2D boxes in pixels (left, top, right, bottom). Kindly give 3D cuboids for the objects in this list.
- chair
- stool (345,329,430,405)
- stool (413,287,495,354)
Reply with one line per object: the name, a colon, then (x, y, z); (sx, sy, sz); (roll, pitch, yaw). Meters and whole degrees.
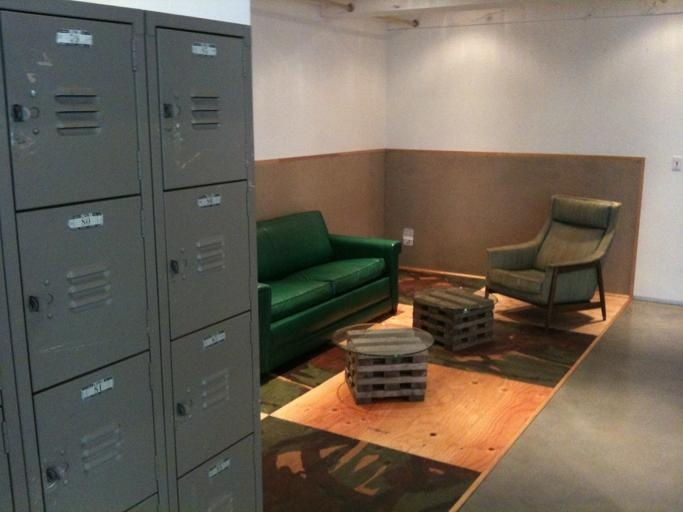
chair: (2.215, 0.038, 5.642); (1.032, 1.171, 0.994); (-13, 20, -34)
stool: (0.340, 0.814, 4.105); (0.551, 0.308, 0.537); (-1, 7, -12)
stool: (1.119, 0.645, 5.092); (0.591, 0.276, 0.569); (-8, 17, -31)
